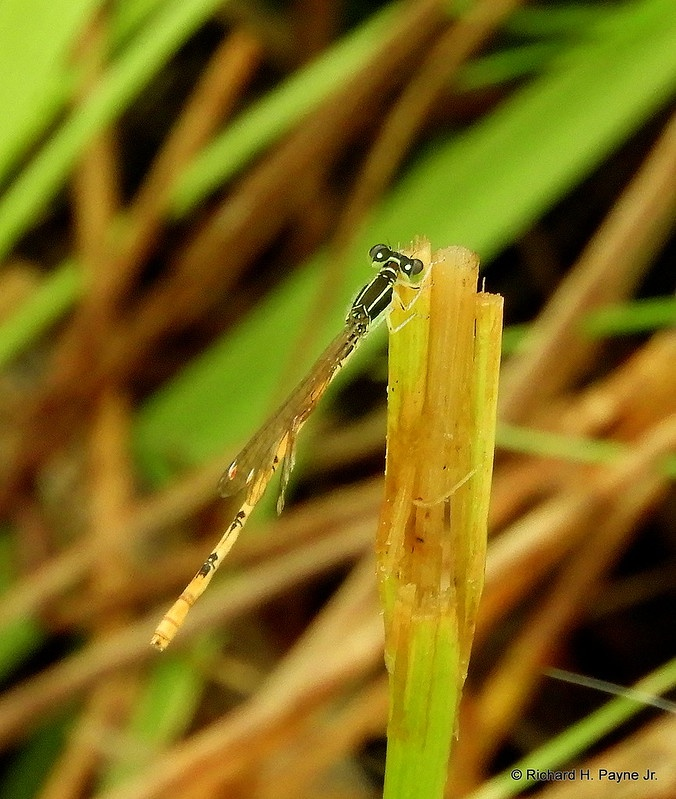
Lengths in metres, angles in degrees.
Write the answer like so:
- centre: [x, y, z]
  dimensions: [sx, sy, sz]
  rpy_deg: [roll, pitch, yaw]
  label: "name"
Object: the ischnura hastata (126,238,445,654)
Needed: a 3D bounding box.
- centre: [-0.004, 0.072, 0.938]
  dimensions: [0.288, 0.303, 0.162]
  rpy_deg: [-23, -40, 34]
  label: "ischnura hastata"
